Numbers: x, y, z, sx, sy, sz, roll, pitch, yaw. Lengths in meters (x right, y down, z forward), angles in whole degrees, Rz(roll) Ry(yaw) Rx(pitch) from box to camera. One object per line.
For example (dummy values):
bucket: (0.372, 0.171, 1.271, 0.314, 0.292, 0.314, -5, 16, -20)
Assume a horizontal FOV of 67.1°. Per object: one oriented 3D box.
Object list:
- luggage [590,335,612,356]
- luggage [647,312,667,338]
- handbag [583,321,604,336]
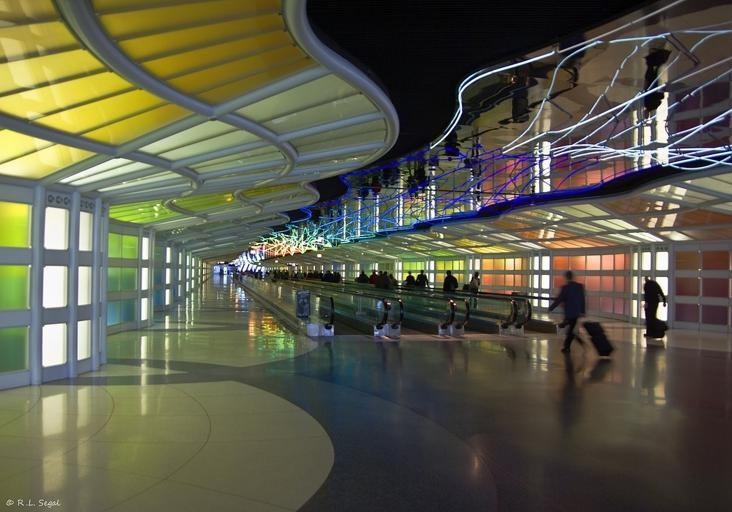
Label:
luggage: (6.345, 2.334, 14.700, 0.508, 0.574, 0.600, 4, 7, 24)
luggage: (9.402, 2.252, 17.785, 0.570, 0.748, 0.432, 5, 8, 27)
handbag: (6.080, 1.923, 14.809, 0.602, 0.389, 0.116, -13, -27, -5)
